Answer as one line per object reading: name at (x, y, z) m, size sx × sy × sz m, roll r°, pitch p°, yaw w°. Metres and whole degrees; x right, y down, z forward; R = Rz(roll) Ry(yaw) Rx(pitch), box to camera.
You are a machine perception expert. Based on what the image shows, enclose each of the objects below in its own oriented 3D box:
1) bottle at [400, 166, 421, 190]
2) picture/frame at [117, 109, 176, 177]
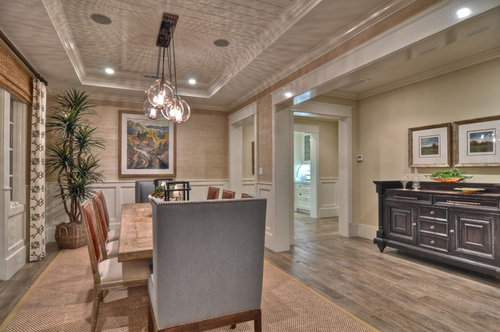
bottle at (2.974, 0.238, 5.688) m, size 0.197 × 0.476 × 0.389 m, roll 12°, pitch -13°, yaw -41°
picture/frame at (-2.370, -0.500, 6.823) m, size 1.630 × 1.733 × 0.133 m, roll -2°, pitch -2°, yaw -30°
